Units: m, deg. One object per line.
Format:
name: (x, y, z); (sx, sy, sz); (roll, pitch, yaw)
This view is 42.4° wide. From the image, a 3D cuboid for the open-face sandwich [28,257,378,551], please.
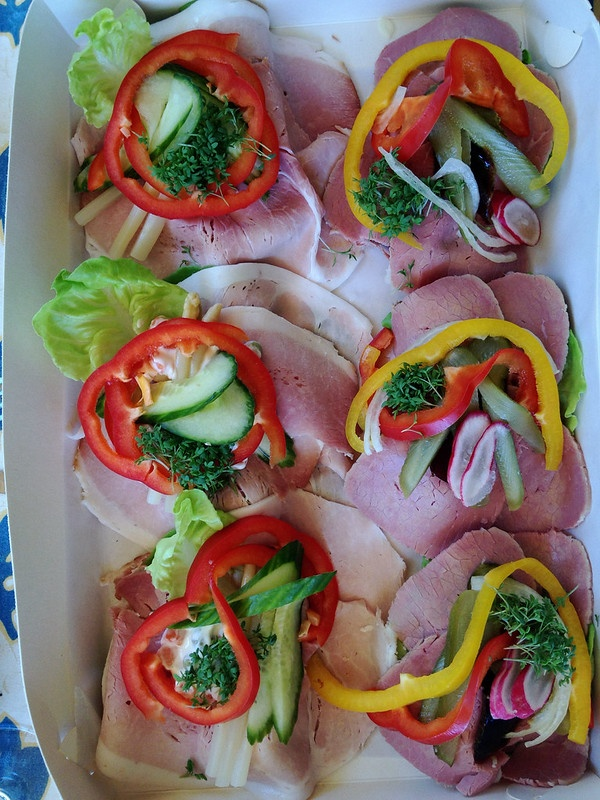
open-face sandwich: (-0.596, -0.095, 2.682); (0.897, 0.253, 0.732); (21, 68, 39)
